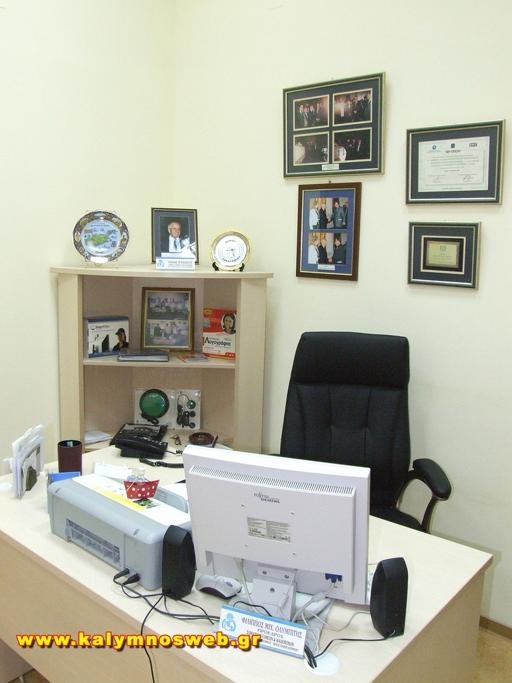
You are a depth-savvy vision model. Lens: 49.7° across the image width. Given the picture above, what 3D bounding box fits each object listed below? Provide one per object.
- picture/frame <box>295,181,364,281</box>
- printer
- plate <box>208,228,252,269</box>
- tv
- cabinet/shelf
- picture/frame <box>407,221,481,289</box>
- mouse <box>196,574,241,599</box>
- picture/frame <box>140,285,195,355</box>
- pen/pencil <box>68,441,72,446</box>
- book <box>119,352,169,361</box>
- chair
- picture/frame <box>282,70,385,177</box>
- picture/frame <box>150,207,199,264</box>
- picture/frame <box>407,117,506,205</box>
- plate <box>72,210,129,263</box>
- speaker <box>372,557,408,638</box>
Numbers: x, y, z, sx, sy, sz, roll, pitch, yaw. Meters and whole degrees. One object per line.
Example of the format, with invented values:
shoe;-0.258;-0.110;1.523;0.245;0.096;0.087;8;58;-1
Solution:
picture/frame;0.342;-0.503;2.485;0.406;0.559;0.020;8;10;40
printer;-0.352;0.453;1.343;0.342;0.129;0.177;13;15;43
plate;-0.121;-0.412;2.558;0.168;0.187;0.128;2;6;-4
tv;0.030;0.400;1.131;0.371;0.338;0.122;2;20;21
cabinet/shelf;-0.463;0.066;2.626;0.902;1.002;0.534;0;6;-5
picture/frame;0.744;-0.340;2.152;0.241;0.233;0.018;14;18;43
mouse;-0.085;0.554;1.274;0.082;0.028;0.050;1;8;32
picture/frame;-0.454;-0.096;2.799;0.309;0.432;0.030;2;-3;-7
pen/pencil;-0.609;0.336;1.808;0.014;0.016;0.026;-2;-2;-19
book;-0.530;0.076;2.594;0.232;0.040;0.107;1;6;-16
chair;0.383;0.240;2.370;0.761;1.216;0.670;1;8;8
picture/frame;0.351;-0.942;2.383;0.490;0.401;0.020;8;12;37
picture/frame;-0.390;-0.498;2.631;0.303;0.358;0.024;0;-2;-17
picture/frame;0.765;-0.677;2.069;0.342;0.267;0.017;12;17;42
plate;-0.701;-0.475;2.510;0.233;0.244;0.056;-2;11;-30
speaker;0.274;0.524;1.138;0.078;0.155;0.121;4;6;14
